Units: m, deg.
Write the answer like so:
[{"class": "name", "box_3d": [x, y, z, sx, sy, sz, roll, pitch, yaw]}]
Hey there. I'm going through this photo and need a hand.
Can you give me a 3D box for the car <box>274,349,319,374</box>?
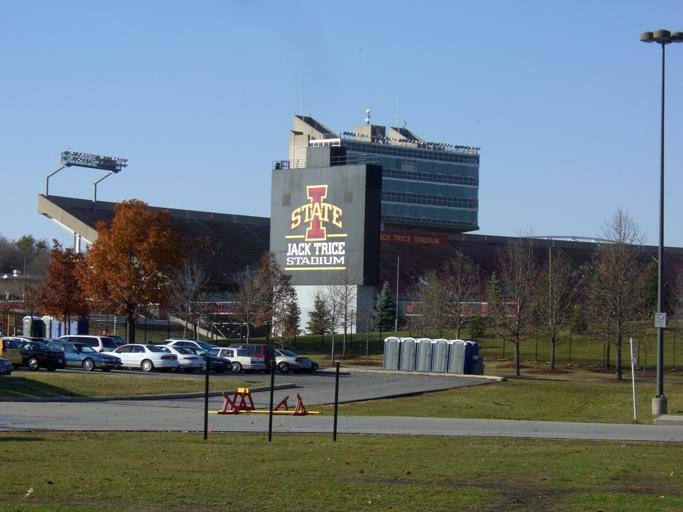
[{"class": "car", "box_3d": [-2.707, 6.043, 86.274, 1.135, 1.258, 2.681, -4, -7, 37]}]
